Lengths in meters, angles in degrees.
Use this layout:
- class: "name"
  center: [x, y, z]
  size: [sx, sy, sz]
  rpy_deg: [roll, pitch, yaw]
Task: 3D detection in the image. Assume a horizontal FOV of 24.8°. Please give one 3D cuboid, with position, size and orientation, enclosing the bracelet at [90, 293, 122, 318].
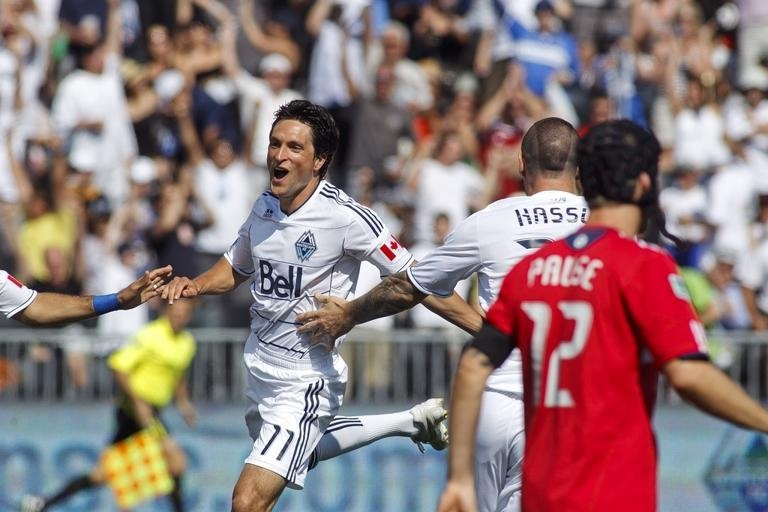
- class: "bracelet"
  center: [-2.734, 0.476, 17.094]
  size: [0.207, 0.233, 0.209]
  rpy_deg: [-11, 46, -7]
